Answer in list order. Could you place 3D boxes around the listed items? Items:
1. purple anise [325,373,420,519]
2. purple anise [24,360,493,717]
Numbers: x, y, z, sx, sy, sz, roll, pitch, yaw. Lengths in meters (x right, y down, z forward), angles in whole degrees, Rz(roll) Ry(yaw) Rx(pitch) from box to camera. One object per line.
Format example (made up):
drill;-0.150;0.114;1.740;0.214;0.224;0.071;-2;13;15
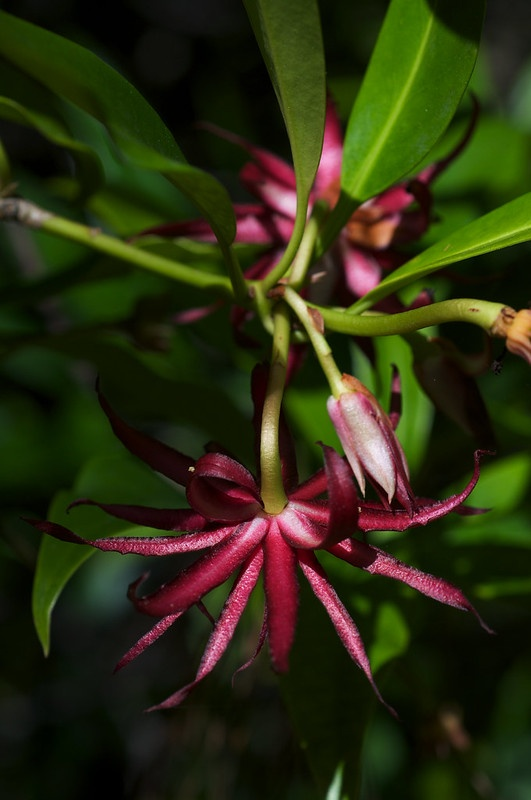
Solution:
purple anise;0.069;0.029;0.477;0.038;0.045;0.092;-34;88;-32
purple anise;-0.011;0.092;0.467;0.264;0.098;0.251;-19;48;-24
